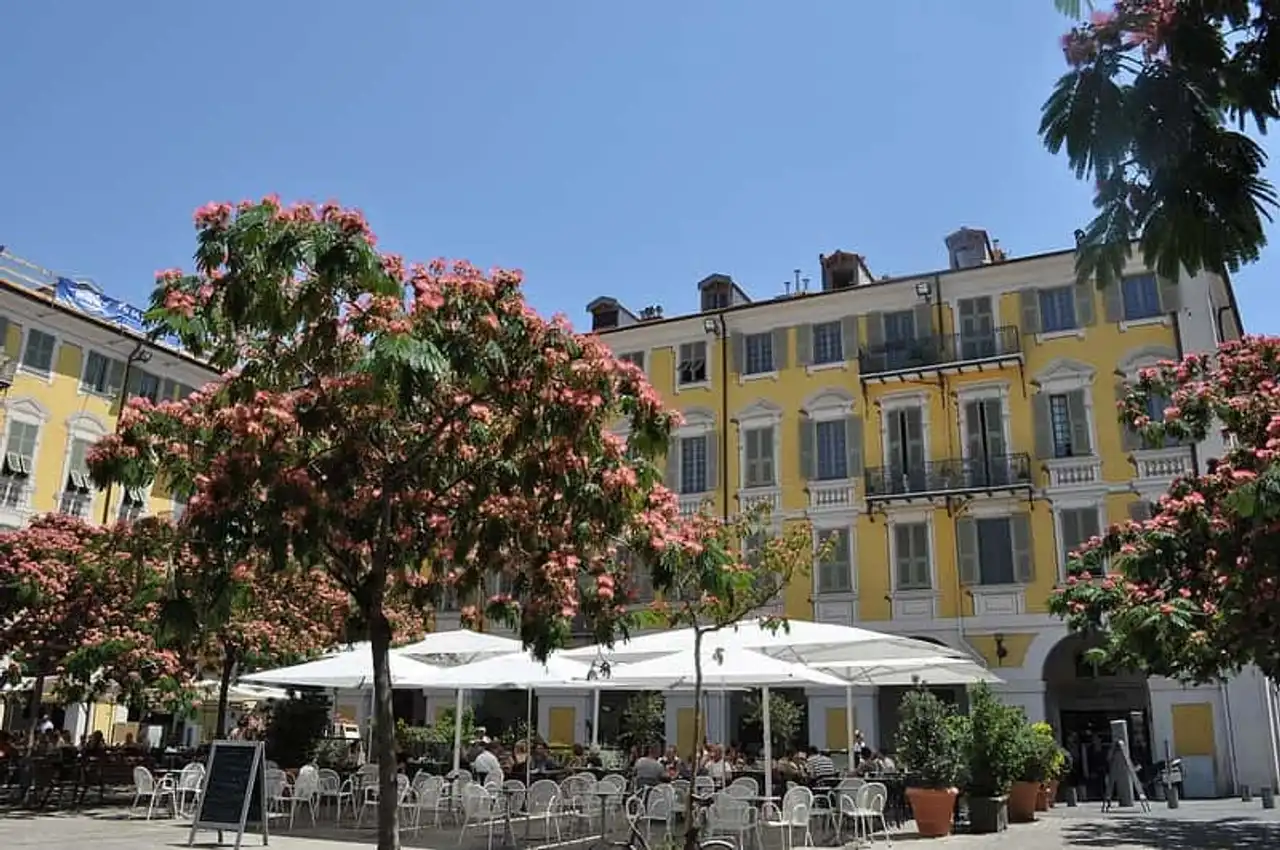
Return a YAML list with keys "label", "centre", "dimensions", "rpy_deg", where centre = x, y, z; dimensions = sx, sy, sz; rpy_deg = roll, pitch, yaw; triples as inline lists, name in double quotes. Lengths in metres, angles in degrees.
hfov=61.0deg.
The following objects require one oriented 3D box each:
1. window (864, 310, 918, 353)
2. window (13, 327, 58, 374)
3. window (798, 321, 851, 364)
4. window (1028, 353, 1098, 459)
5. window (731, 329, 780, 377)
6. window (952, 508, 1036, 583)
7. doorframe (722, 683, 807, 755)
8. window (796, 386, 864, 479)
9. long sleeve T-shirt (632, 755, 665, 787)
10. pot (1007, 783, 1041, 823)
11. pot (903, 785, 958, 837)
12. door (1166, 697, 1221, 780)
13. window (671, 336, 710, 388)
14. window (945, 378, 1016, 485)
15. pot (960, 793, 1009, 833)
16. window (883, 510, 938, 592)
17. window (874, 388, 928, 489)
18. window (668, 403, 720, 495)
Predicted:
- label: "window"
  centre: [7.980, -2.918, 33.959]
  dimensions: [1.315, 1.548, 0.164]
  rpy_deg: [-4, -27, 18]
- label: "window"
  centre: [-19.287, -2.397, 34.407]
  dimensions: [0.107, 1.504, 1.258]
  rpy_deg: [-8, -14, 24]
- label: "window"
  centre: [6.038, -2.629, 34.889]
  dimensions: [1.186, 1.081, 0.160]
  rpy_deg: [-12, -19, 31]
- label: "window"
  centre: [12.366, -0.476, 31.401]
  dimensions: [2.349, 3.860, 0.593]
  rpy_deg: [-11, -25, 38]
- label: "window"
  centre: [3.897, -2.352, 35.850]
  dimensions: [1.330, 1.216, 0.285]
  rpy_deg: [-15, -28, 33]
- label: "window"
  centre: [10.311, 3.475, 31.157]
  dimensions: [1.857, 1.994, 0.338]
  rpy_deg: [-7, -18, 27]
- label: "doorframe"
  centre: [4.105, 8.640, 31.790]
  dimensions: [1.317, 1.827, 1.728]
  rpy_deg: [4, -26, -46]
- label: "window"
  centre: [6.071, 0.299, 33.987]
  dimensions: [2.330, 3.491, 0.674]
  rpy_deg: [-6, -24, 22]
- label: "long sleeve T-shirt"
  centre: [0.164, 6.104, 19.193]
  dimensions: [0.614, 0.738, 0.413]
  rpy_deg: [1, -30, 1]
- label: "pot"
  centre: [8.038, 7.799, 22.709]
  dimensions: [0.778, 0.610, 0.806]
  rpy_deg: [-3, -17, -1]
- label: "pot"
  centre: [5.400, 7.062, 19.946]
  dimensions: [0.821, 0.687, 0.855]
  rpy_deg: [1, -26, 1]
- label: "door"
  centre: [14.608, 7.947, 28.498]
  dimensions: [1.043, 1.411, 0.343]
  rpy_deg: [-11, -20, 25]
- label: "window"
  centre: [1.787, -2.101, 36.783]
  dimensions: [1.326, 1.896, 0.608]
  rpy_deg: [-9, -28, 24]
- label: "window"
  centre: [10.177, 0.337, 32.040]
  dimensions: [1.537, 3.459, 0.504]
  rpy_deg: [-8, -30, 23]
- label: "pot"
  centre: [6.590, 7.282, 20.462]
  dimensions: [0.726, 0.562, 0.632]
  rpy_deg: [-2, -31, 8]
- label: "window"
  centre: [8.078, 3.777, 32.057]
  dimensions: [1.094, 2.105, 0.235]
  rpy_deg: [-4, 10, 9]
- label: "window"
  centre: [8.126, 0.603, 33.104]
  dimensions: [1.242, 2.851, 0.360]
  rpy_deg: [-6, 18, 7]
- label: "window"
  centre: [1.767, 0.877, 35.824]
  dimensions: [1.692, 0.454, 3.184]
  rpy_deg: [-3, -64, -1]
